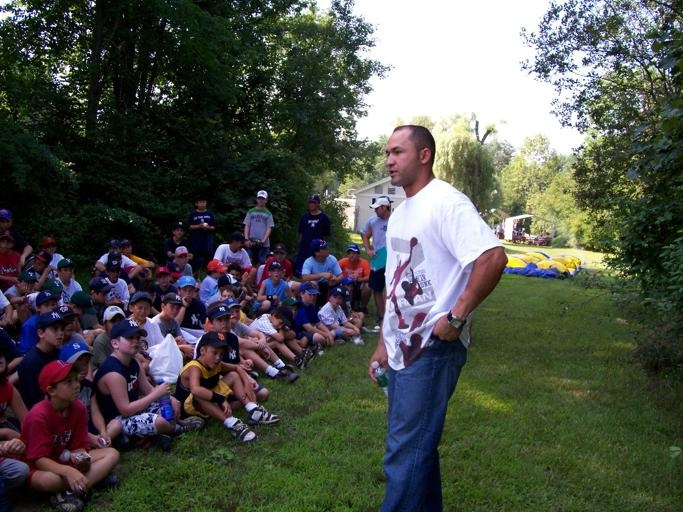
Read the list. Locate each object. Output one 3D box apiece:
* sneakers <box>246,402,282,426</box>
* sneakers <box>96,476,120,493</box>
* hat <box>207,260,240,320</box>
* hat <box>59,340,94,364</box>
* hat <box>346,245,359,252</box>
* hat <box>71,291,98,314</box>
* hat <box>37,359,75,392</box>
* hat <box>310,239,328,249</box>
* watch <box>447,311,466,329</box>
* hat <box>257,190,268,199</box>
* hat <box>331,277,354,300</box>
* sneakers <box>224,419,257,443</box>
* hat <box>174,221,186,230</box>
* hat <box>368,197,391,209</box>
[{"bbox_3d":[-0.945,1.834,6.157,0.468,0.237,0.175,3,2,2],"label":"sneakers"},{"bbox_3d":[-2.226,2.152,5.000,0.200,0.107,0.112,-2,13,-27],"label":"sneakers"},{"bbox_3d":[-1.812,0.556,8.439,0.387,0.426,0.680,10,22,35],"label":"hat"},{"bbox_3d":[-2.570,0.952,5.096,0.264,0.156,0.427,-4,14,-35],"label":"hat"},{"bbox_3d":[0.217,-0.170,10.840,0.179,0.156,0.306,-1,-9,7],"label":"hat"},{"bbox_3d":[-3.497,0.608,7.177,0.315,0.180,0.228,33,10,-6],"label":"hat"},{"bbox_3d":[-2.639,1.118,4.862,0.279,0.262,0.245,-3,13,-31],"label":"hat"},{"bbox_3d":[-0.441,-0.208,10.235,0.252,0.158,0.196,-3,23,7],"label":"hat"},{"bbox_3d":[0.862,0.471,3.920,0.088,0.059,0.089,44,-2,-12],"label":"watch"},{"bbox_3d":[-1.705,-1.380,11.396,0.201,0.200,0.332,11,11,-6],"label":"hat"},{"bbox_3d":[0.013,0.592,10.025,0.321,0.248,0.540,27,4,17],"label":"hat"},{"bbox_3d":[-1.127,1.914,5.924,0.449,0.197,0.165,19,27,31],"label":"sneakers"},{"bbox_3d":[-3.156,-0.568,10.200,0.227,0.183,0.349,10,3,-9],"label":"hat"},{"bbox_3d":[0.766,-1.025,9.993,0.318,0.183,0.221,-4,3,-8],"label":"hat"}]
